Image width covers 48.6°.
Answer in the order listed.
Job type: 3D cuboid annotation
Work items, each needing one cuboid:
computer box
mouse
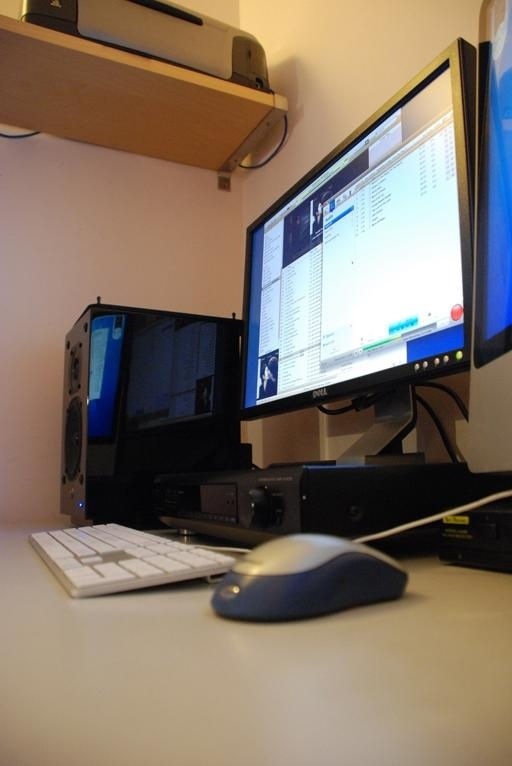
[{"bbox_3d":[-0.196,0.108,1.191,0.332,0.526,0.335,5,-15,-14],"label":"computer box"},{"bbox_3d":[0.035,0.104,0.339,0.082,0.031,0.052,6,-12,-32],"label":"mouse"}]
